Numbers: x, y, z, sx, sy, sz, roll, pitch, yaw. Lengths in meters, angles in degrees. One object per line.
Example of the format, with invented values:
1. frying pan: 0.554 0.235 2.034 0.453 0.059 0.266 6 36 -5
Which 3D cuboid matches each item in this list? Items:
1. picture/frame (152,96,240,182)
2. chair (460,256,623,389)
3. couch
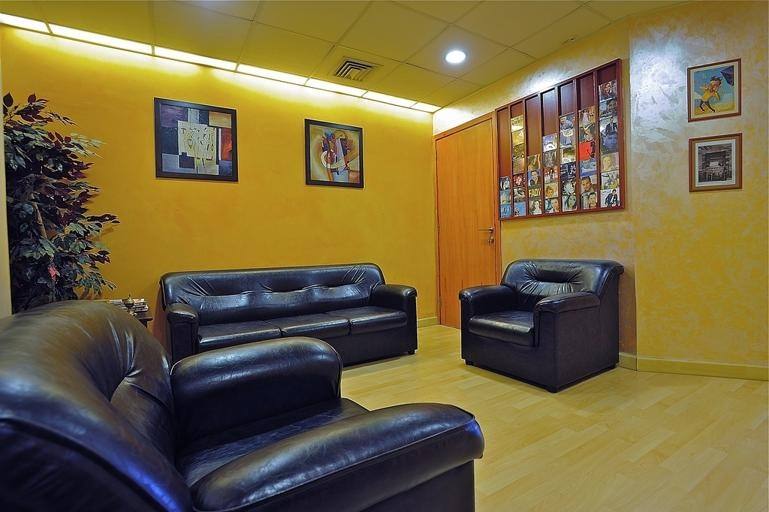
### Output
1. picture/frame: -2.028 -1.227 5.261 1.062 0.972 0.071 1 -4 -34
2. chair: 1.532 0.601 4.969 1.081 1.072 1.124 -7 7 -40
3. couch: -0.891 0.656 5.164 2.641 0.976 0.879 -3 11 -36
